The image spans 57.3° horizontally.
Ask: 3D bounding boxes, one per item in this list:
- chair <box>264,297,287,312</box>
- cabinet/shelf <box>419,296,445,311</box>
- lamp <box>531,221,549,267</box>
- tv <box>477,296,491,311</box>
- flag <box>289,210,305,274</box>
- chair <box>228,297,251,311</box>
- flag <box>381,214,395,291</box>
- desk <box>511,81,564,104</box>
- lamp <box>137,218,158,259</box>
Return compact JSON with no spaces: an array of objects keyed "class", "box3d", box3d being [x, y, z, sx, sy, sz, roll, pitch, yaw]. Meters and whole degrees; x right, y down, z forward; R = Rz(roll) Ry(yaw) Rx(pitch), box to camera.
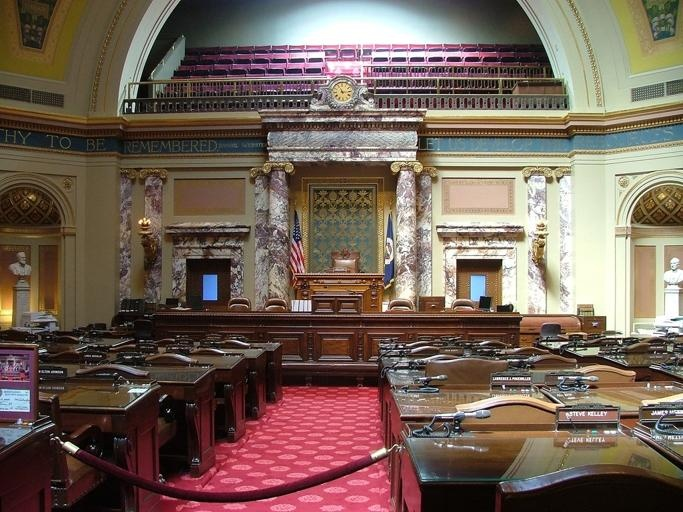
[{"class":"chair","box3d":[-1.211,0.922,11.579,0.240,0.326,0.283,1,-21,0]},{"class":"cabinet/shelf","box3d":[1.630,0.873,11.286,0.421,0.283,0.261,-1,-9,3]},{"class":"lamp","box3d":[4.338,-0.251,13.722,0.342,0.967,0.811,4,1,17]},{"class":"tv","box3d":[2.615,0.868,11.585,0.291,0.281,0.235,2,-11,32]},{"class":"flag","box3d":[-0.951,-0.304,13.918,0.361,1.045,1.268,3,1,-5]},{"class":"chair","box3d":[-2.002,0.938,12.300,0.302,0.427,0.369,0,-7,-4]},{"class":"flag","box3d":[1.094,-0.104,14.122,0.273,1.415,0.626,3,1,4]},{"class":"desk","box3d":[4.566,-3.881,14.518,1.169,0.410,0.860,4,1,11]},{"class":"lamp","box3d":[-4.310,-0.435,14.081,0.447,0.867,0.723,3,1,-17]}]
